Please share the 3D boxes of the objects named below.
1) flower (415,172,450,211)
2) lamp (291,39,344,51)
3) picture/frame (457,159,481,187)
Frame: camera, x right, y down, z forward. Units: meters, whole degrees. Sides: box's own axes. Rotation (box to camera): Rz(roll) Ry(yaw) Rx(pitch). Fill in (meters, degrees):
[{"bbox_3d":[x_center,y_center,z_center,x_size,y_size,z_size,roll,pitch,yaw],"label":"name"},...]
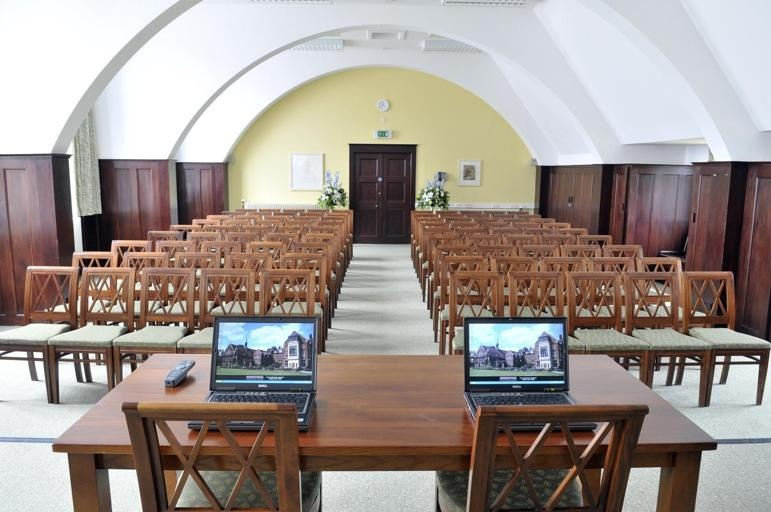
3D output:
[{"bbox_3d":[1.367,-1.702,15.223,1.065,1.521,1.058,0,5,2],"label":"flower"},{"bbox_3d":[-1.557,-4.835,12.570,1.111,0.274,1.023,1,11,1],"label":"lamp"},{"bbox_3d":[2.342,-2.390,15.603,0.768,0.953,0.064,0,4,-5],"label":"picture/frame"}]
